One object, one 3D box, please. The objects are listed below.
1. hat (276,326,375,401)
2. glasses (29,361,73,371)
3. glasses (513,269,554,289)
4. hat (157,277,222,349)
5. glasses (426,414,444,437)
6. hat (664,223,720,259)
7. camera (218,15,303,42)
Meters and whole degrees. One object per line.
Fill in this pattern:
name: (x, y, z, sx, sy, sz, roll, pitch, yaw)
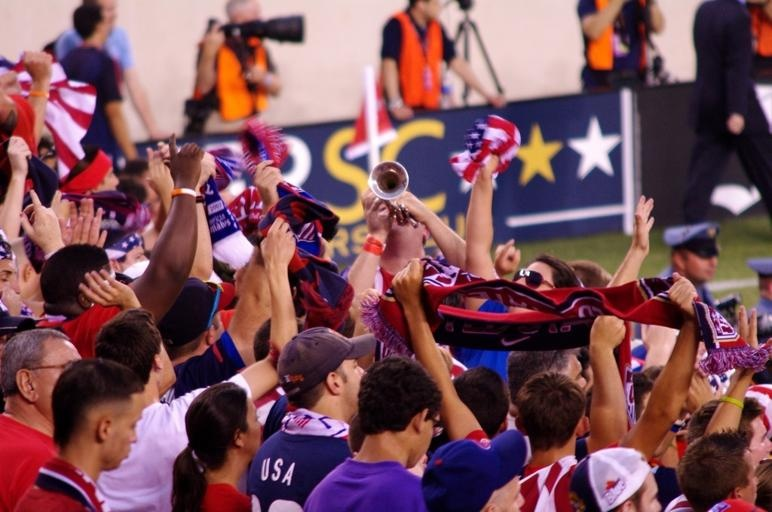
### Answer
hat: (-0.410, 0.715, 8.638, 0.653, 0.442, 0.196, -4, 4, -28)
glasses: (-2.265, 0.741, 8.517, 0.267, 0.067, 0.045, -2, 3, 0)
glasses: (1.123, 0.202, 9.889, 0.146, 0.069, 0.183, 14, -12, 47)
hat: (-1.454, 0.434, 9.498, 0.342, 0.531, 0.302, 14, -21, 36)
glasses: (0.353, 1.199, 8.832, 0.152, 0.174, 0.059, -3, -17, 2)
hat: (3.094, -0.172, 12.880, 0.417, 0.197, 0.350, 2, 8, 18)
camera: (-1.116, -2.141, 11.804, 0.830, 0.251, 0.321, -4, 3, -35)
